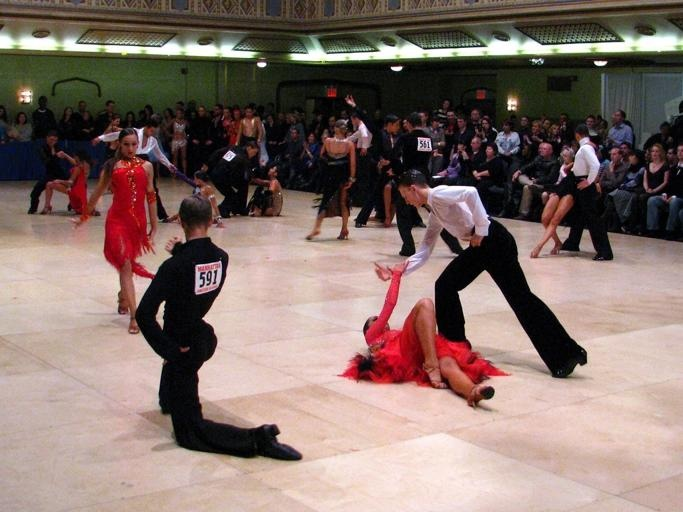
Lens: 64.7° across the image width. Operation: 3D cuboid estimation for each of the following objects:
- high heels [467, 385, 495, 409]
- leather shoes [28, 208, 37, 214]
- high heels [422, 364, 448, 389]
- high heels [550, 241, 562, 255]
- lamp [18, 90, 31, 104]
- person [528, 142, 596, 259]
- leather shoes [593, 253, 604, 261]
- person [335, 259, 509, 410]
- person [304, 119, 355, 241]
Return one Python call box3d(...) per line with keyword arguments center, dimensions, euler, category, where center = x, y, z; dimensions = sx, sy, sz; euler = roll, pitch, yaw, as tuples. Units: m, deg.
box3d(center=(1.055, 1.038, 4.047), dimensions=(0.125, 0.107, 0.301), euler=(3, -14, -12), category="high heels")
box3d(center=(-7.480, -1.120, 13.063), dimensions=(0.193, 0.126, 0.298), euler=(-6, 14, -29), category="leather shoes")
box3d(center=(0.780, 1.006, 4.473), dimensions=(0.116, 0.210, 0.083), euler=(-25, -13, -10), category="high heels")
box3d(center=(4.100, -0.151, 10.295), dimensions=(0.113, 0.280, 0.092), euler=(26, 0, 4), category="high heels")
box3d(center=(-11.940, -6.037, 20.504), dimensions=(0.487, 0.507, 0.493), euler=(0, -2, -12), category="lamp")
box3d(center=(4.116, -1.102, 9.850), dimensions=(0.770, 2.374, 0.788), euler=(8, 12, -37), category="person")
box3d(center=(4.616, 0.019, 9.682), dimensions=(0.088, 0.063, 0.159), euler=(-1, -9, -10), category="leather shoes")
box3d(center=(0.688, 0.560, 4.566), dimensions=(1.010, 0.664, 1.165), euler=(-1, 6, -39), category="person")
box3d(center=(-0.240, -1.376, 10.938), dimensions=(0.971, 2.037, 0.815), euler=(0, 12, -3), category="person")
